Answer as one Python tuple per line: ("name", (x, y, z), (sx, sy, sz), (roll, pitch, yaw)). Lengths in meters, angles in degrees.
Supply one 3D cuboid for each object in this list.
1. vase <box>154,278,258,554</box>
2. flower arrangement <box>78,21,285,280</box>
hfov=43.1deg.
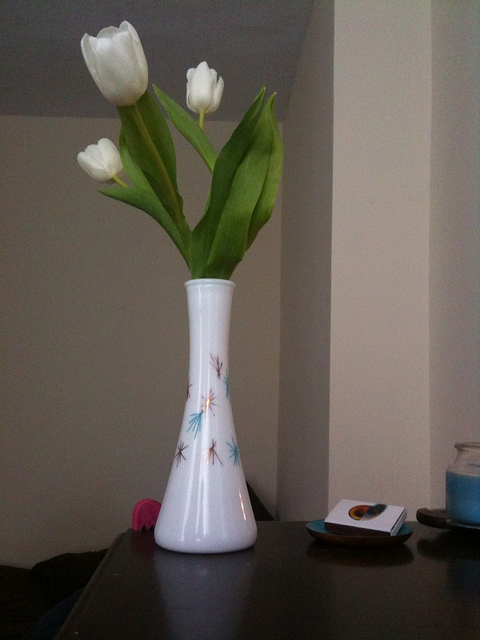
("vase", (-0.035, 0.091, 0.601), (0.097, 0.256, 0.062), (0, 0, -11))
("flower arrangement", (-0.047, -0.141, 0.637), (0.199, 0.310, 0.182), (-8, 10, -32))
